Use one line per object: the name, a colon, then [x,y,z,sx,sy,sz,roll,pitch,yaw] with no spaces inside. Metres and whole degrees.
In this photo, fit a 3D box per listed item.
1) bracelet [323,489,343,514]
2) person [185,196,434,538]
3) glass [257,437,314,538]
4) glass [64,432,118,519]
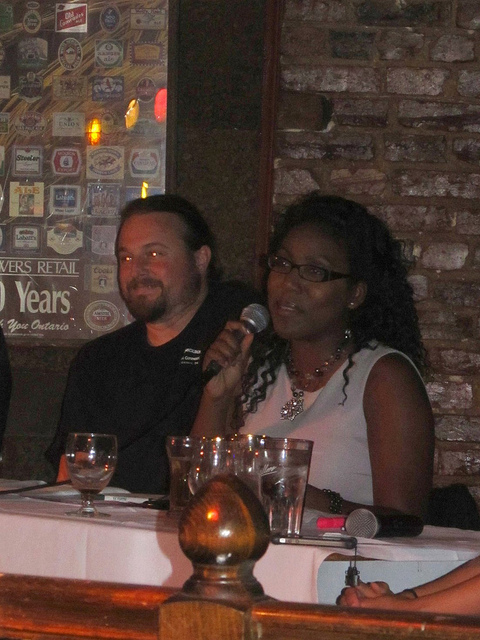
bracelet: [0.230,0.447,1.643,0.048,0.015,0.036,23,0,-17]
person: [0.248,0.069,2.154,0.721,1.034,0.602,2,0,8]
glass: [0.074,0.288,1.150,0.096,0.165,0.238,2,0,6]
glass: [-0.314,0.311,1.416,0.095,0.164,0.104,2,0,43]
